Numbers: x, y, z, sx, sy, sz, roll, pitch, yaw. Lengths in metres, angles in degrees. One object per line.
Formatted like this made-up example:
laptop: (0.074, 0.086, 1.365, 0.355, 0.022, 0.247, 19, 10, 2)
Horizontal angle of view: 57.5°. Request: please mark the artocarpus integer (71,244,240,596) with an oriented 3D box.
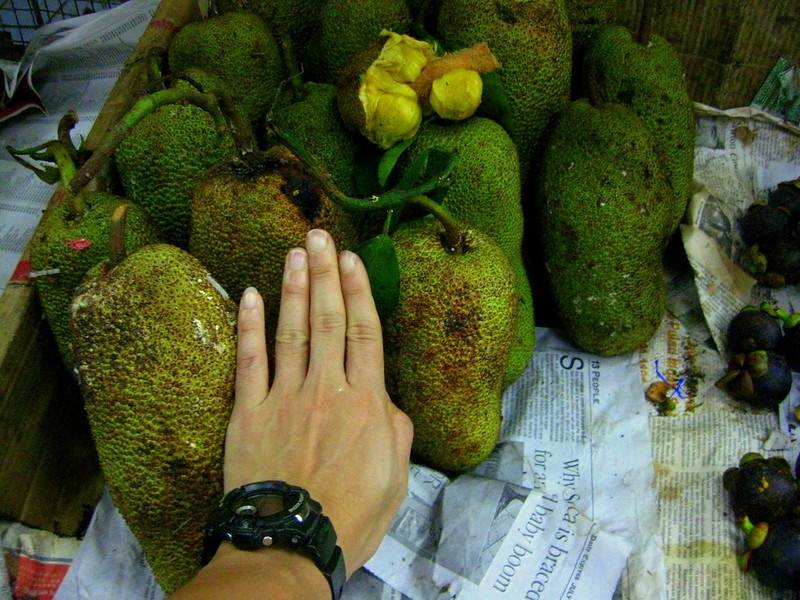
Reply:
artocarpus integer: (-0.346, 0.167, 1.092, 0.230, 0.343, 0.323, -8, 47, -14)
